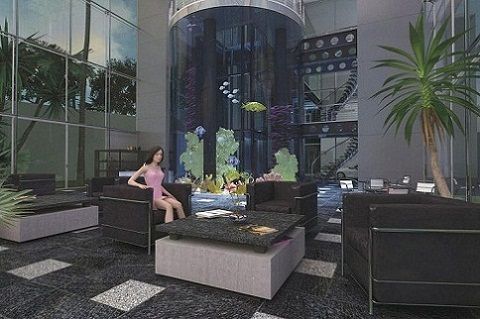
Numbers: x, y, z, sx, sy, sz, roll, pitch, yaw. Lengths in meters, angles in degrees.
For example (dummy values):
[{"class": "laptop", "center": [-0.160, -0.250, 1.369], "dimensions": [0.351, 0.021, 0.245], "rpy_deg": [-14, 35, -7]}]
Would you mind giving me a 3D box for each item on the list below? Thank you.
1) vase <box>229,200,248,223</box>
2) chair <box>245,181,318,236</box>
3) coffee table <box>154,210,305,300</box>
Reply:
[{"class": "vase", "center": [-0.071, 0.903, 5.832], "dimensions": [0.403, 0.405, 0.389], "rpy_deg": [-1, -2, 28]}, {"class": "chair", "center": [1.007, 0.911, 7.227], "dimensions": [1.271, 0.986, 1.148], "rpy_deg": [0, -4, 26]}, {"class": "coffee table", "center": [-0.181, 1.452, 5.307], "dimensions": [1.527, 0.627, 1.448], "rpy_deg": [-1, -2, 27]}]
